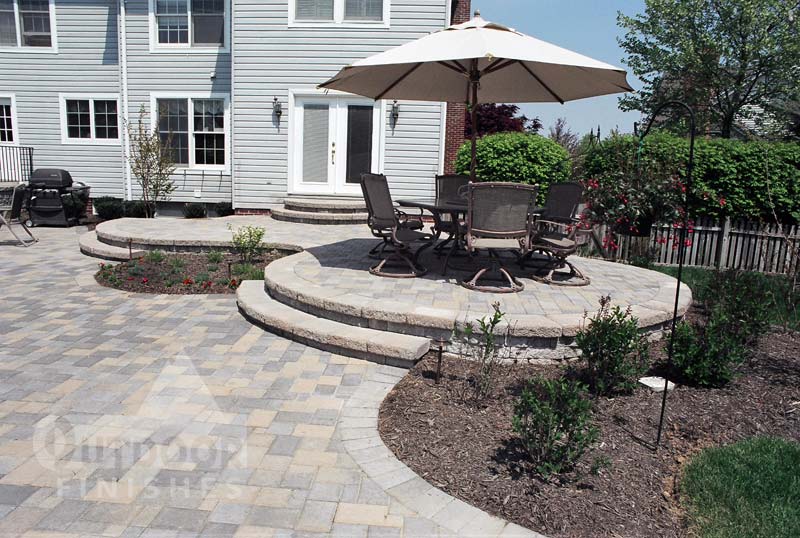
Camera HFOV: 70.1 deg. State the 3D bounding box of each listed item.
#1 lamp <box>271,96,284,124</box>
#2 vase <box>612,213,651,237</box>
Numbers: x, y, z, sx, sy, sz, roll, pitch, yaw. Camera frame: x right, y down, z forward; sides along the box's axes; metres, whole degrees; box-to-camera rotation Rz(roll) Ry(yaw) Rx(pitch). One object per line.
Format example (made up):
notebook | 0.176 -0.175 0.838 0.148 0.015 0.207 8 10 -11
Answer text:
lamp | -3.270 -4.221 15.312 0.282 0.699 0.125 7 13 25
vase | 4.912 -0.923 11.963 0.605 0.444 0.629 3 5 12
